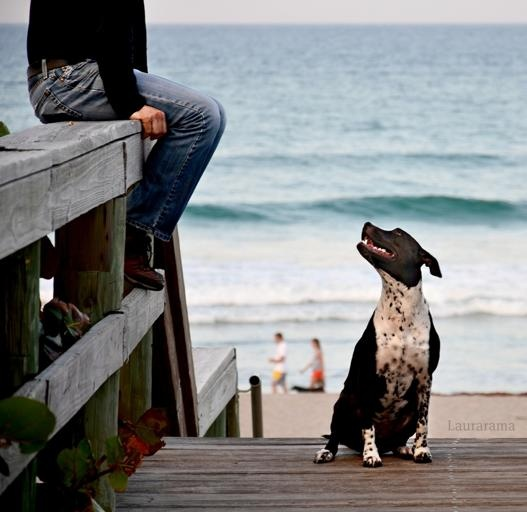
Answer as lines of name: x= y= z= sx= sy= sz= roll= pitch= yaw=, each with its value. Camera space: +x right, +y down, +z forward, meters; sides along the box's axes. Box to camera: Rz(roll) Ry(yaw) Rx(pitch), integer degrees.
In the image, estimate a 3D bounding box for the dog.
dog: x=0.592 y=0.436 z=6.189 sx=0.535 sy=0.996 sz=0.352 roll=4 pitch=2 yaw=8
